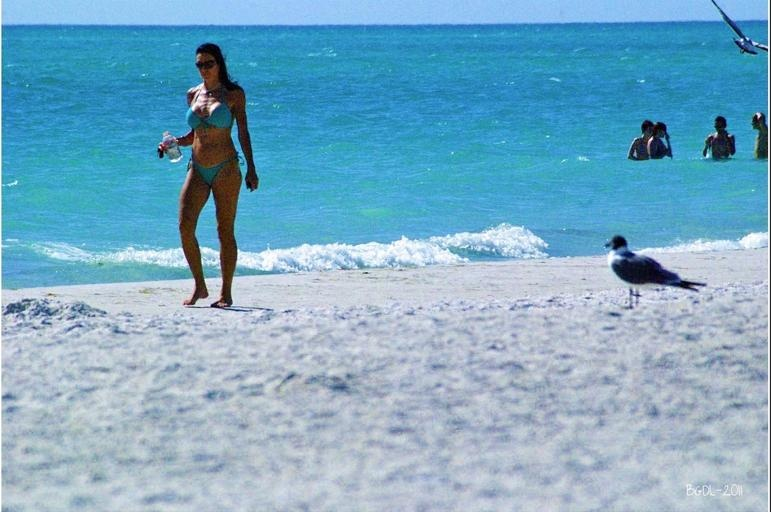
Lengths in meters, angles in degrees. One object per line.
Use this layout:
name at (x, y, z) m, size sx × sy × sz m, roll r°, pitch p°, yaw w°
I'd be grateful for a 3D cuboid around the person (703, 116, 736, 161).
person at (8.050, -2.551, 27.484) m, size 0.818 × 1.469 × 0.483 m, roll 3°, pitch 10°, yaw 28°

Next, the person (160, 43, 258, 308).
person at (-2.420, -1.155, 16.203) m, size 1.201 × 3.687 × 1.348 m, roll -2°, pitch 11°, yaw -7°

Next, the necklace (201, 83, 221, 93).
necklace at (-2.415, -2.342, 15.942) m, size 0.152 × 0.092 × 0.131 m, roll -1°, pitch -4°, yaw -1°

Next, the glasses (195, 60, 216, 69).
glasses at (-2.505, -2.656, 15.839) m, size 0.297 × 0.123 × 0.124 m, roll 3°, pitch 11°, yaw 21°

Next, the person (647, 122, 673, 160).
person at (6.582, -2.763, 27.442) m, size 0.537 × 0.838 × 0.548 m, roll 0°, pitch 11°, yaw 3°

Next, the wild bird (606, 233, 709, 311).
wild bird at (3.611, 0.208, 15.738) m, size 0.963 × 0.927 × 0.832 m, roll -4°, pitch 11°, yaw -16°
